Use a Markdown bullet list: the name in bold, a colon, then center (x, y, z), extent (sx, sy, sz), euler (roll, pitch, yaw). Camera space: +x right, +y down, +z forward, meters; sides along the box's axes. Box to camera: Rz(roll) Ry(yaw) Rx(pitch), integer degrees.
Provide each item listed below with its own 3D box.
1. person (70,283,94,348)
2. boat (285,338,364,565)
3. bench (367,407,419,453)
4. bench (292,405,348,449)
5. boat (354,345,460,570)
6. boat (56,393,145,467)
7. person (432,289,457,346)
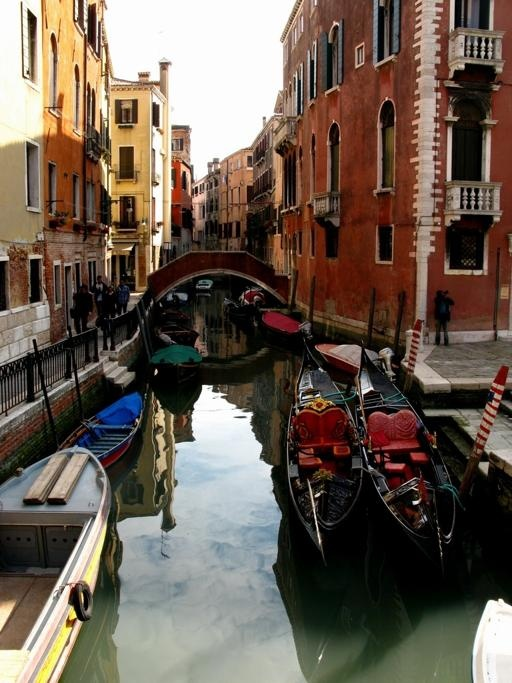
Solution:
- **person**: center (-5.279, -0.985, 17.631), extent (0.602, 1.450, 2.438), euler (-2, 6, -17)
- **boat**: center (0.944, 1.407, 8.560), extent (0.586, 0.882, 4.184), euler (-2, 33, 4)
- **bench**: center (2.168, 1.333, 9.243), extent (0.739, 0.435, 0.891), euler (-17, 0, 1)
- **bench**: center (1.018, 1.373, 9.071), extent (0.815, 0.819, 0.539), euler (-4, -4, 6)
- **boat**: center (2.008, 1.524, 8.395), extent (0.614, 1.015, 4.323), euler (-3, 30, 0)
- **boat**: center (-2.790, 1.731, 11.269), extent (0.443, 0.540, 2.271), euler (7, 18, 4)
- **person**: center (5.183, -0.651, 16.136), extent (0.485, 1.515, 0.769), euler (1, 5, 24)
